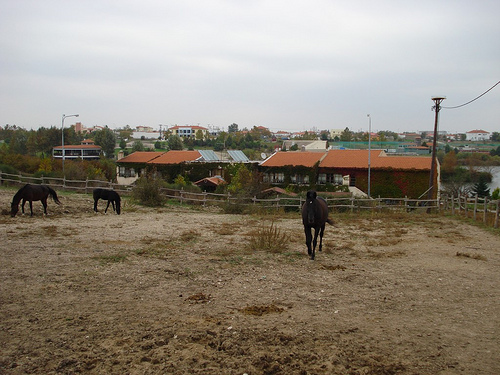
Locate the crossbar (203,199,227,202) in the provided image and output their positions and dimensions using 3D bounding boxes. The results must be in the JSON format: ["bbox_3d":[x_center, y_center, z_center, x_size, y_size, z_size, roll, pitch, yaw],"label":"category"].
[{"bbox_3d":[-2.554,0.932,35.589,1.565,0.111,0.157,6,-1,-21],"label":"crossbar"}]

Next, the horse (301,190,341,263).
[{"bbox_3d":[2.123,1.124,16.068,0.562,1.782,2.312,1,0,10],"label":"horse"}]

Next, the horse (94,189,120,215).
[{"bbox_3d":[-7.038,0.702,24.201,1.729,1.302,0.472,9,5,18],"label":"horse"}]

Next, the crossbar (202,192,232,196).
[{"bbox_3d":[-2.574,0.516,38.975,2.818,0.136,0.288,-1,-13,14],"label":"crossbar"}]

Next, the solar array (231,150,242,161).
[{"bbox_3d":[-2.033,-4.635,72.462,0.473,0.240,2.693,-14,47,-25],"label":"solar array"}]

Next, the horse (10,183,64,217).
[{"bbox_3d":[-9.309,0.571,21.485,0.603,1.330,2.714,-2,1,28],"label":"horse"}]
